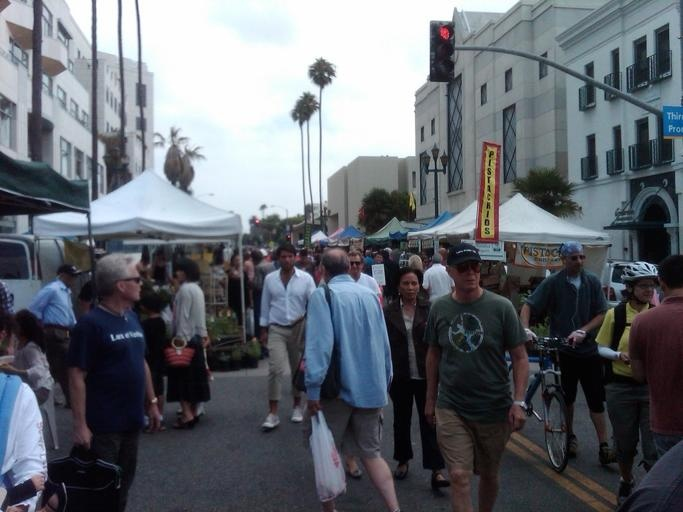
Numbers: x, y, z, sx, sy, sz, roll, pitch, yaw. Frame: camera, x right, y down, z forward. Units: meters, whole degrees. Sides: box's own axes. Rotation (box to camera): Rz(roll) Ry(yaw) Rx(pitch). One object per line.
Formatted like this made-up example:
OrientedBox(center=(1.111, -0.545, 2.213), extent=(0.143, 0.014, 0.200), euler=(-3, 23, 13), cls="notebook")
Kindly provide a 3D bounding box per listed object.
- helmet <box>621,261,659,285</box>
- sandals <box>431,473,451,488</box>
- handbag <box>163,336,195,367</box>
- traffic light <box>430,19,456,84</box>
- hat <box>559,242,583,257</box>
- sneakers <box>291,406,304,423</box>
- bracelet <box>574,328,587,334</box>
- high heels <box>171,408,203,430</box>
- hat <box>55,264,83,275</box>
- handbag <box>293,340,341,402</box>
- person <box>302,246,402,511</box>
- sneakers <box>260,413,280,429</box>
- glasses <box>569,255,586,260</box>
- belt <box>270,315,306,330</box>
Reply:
OrientedBox(center=(2.909, 0.156, 6.689), extent=(0.216, 0.136, 0.317), euler=(-1, -3, -15), cls="helmet")
OrientedBox(center=(1.035, 2.324, 7.041), extent=(0.086, 0.114, 0.265), euler=(-1, -10, -16), cls="sandals")
OrientedBox(center=(-2.099, 1.287, 9.086), extent=(0.487, 0.566, 0.295), euler=(1, -21, -13), cls="handbag")
OrientedBox(center=(1.865, -3.770, 12.522), extent=(0.449, 1.105, 0.449), euler=(0, 6, 5), cls="traffic light")
OrientedBox(center=(2.648, -0.089, 7.863), extent=(0.222, 0.153, 0.222), euler=(-6, 9, -35), cls="hat")
OrientedBox(center=(-0.590, 2.153, 9.259), extent=(0.117, 0.147, 0.345), euler=(0, -9, 1), cls="sneakers")
OrientedBox(center=(2.651, 0.831, 7.516), extent=(0.108, 0.058, 0.144), euler=(1, 6, 18), cls="bracelet")
OrientedBox(center=(-2.108, 2.190, 9.153), extent=(0.151, 0.197, 0.410), euler=(-6, 4, -43), cls="high heels")
OrientedBox(center=(-3.947, 0.192, 9.829), extent=(0.309, 0.163, 0.233), euler=(1, 1, -7), cls="hat")
OrientedBox(center=(-0.254, 1.084, 6.335), extent=(0.452, 0.525, 0.265), euler=(2, 7, 29), cls="handbag")
OrientedBox(center=(0.082, 1.223, 6.438), extent=(0.810, 1.881, 0.678), euler=(-1, 6, 3), cls="person")
OrientedBox(center=(-0.925, 2.142, 8.905), extent=(0.112, 0.152, 0.301), euler=(3, 4, 17), cls="sneakers")
OrientedBox(center=(2.705, 0.016, 7.762), extent=(0.177, 0.053, 0.040), euler=(-3, 6, -16), cls="glasses")
OrientedBox(center=(-0.664, 0.900, 9.093), extent=(0.317, 0.084, 0.340), euler=(-8, 0, -3), cls="belt")
